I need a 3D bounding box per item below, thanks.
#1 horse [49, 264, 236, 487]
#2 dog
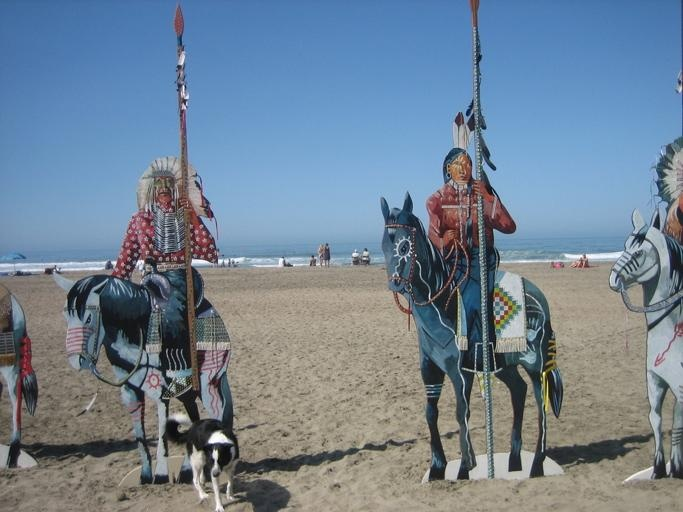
[{"bbox_3d":[-2.991,1.964,12.289,0.967,3.775,3.538,-5,-6,32],"label":"horse"},{"bbox_3d":[-2.084,3.088,11.434,0.507,1.246,1.233,-12,16,-42],"label":"dog"}]
